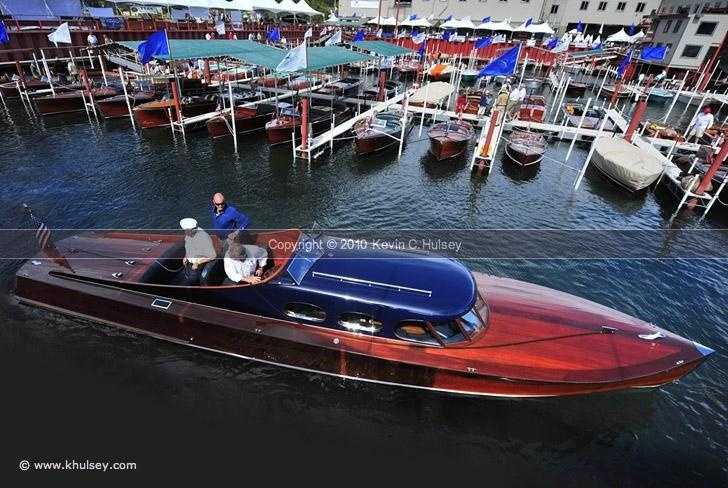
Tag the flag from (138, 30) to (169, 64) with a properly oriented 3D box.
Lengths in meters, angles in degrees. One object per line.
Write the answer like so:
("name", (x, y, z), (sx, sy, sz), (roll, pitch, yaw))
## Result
("flag", (-11.100, -10.448, 21.663), (1.483, 1.658, 1.127), (-5, 36, -18))
